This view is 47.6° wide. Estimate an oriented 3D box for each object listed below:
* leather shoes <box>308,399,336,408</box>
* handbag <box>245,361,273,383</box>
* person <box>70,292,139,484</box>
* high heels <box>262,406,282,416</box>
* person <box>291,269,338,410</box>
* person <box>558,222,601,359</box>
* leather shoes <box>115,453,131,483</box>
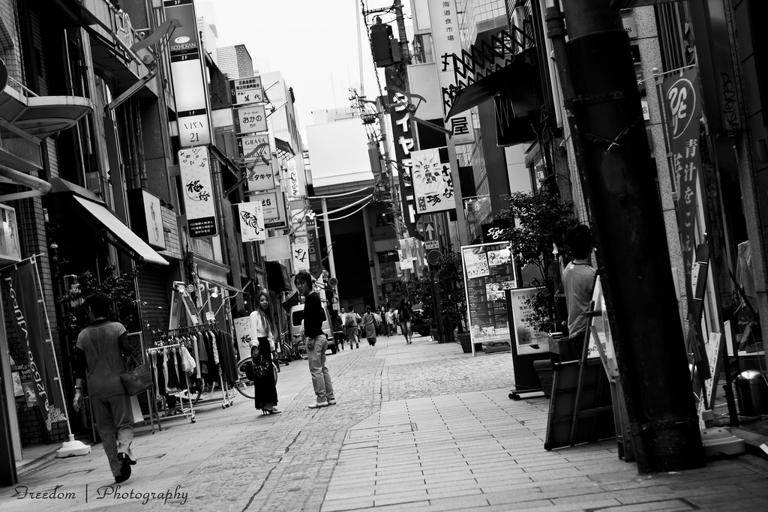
[{"bbox_3d":[-1.211,2.932,17.089,0.523,0.220,0.197,0,-2,-13],"label":"leather shoes"},{"bbox_3d":[-2.526,2.354,17.770,0.522,0.353,0.754,-8,-4,-10],"label":"handbag"},{"bbox_3d":[-3.962,1.884,12.500,0.790,2.689,0.509,-11,-4,37],"label":"person"},{"bbox_3d":[-2.194,3.127,17.473,0.466,0.210,0.157,-6,7,-16],"label":"high heels"},{"bbox_3d":[-1.394,1.623,17.336,0.549,2.058,1.063,-8,-3,-5],"label":"person"},{"bbox_3d":[2.597,0.490,11.482,0.341,1.609,0.733,-7,-4,-21],"label":"person"},{"bbox_3d":[-3.645,2.980,12.228,0.154,0.436,0.180,0,-6,-16],"label":"leather shoes"}]
